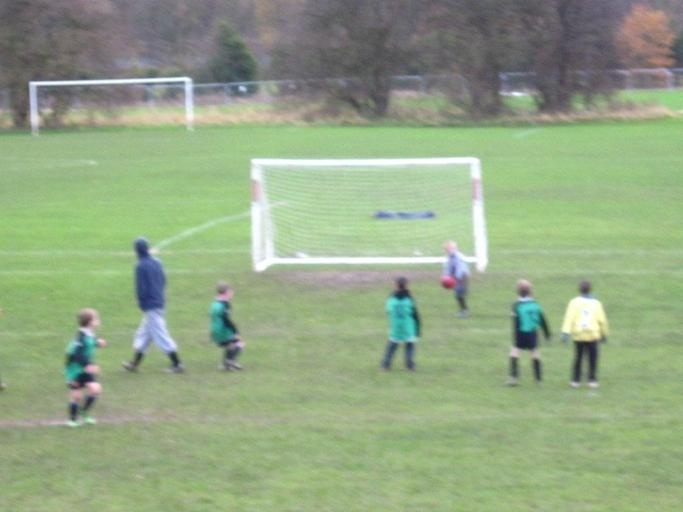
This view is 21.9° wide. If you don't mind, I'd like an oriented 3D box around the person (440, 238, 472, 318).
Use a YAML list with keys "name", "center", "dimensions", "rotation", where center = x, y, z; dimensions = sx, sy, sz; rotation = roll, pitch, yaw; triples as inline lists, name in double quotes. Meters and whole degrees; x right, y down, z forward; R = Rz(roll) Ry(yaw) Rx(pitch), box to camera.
- name: "person"
  center: [3.537, 0.692, 53.624]
  dimensions: [0.738, 2.246, 0.890]
  rotation: [-3, 8, 2]

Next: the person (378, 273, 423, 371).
- name: "person"
  center: [1.731, 1.985, 50.606]
  dimensions: [1.065, 2.711, 0.760]
  rotation: [3, 10, 39]

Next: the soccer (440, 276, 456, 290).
- name: "soccer"
  center: [3.290, 0.805, 53.366]
  dimensions: [0.409, 0.339, 0.389]
  rotation: [-2, 7, 3]

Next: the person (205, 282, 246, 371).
- name: "person"
  center: [-3.292, 2.047, 50.694]
  dimensions: [0.871, 2.564, 0.561]
  rotation: [-4, 8, -7]

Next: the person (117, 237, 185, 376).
- name: "person"
  center: [-5.421, 1.464, 50.402]
  dimensions: [1.506, 3.933, 0.575]
  rotation: [-3, 8, -2]
